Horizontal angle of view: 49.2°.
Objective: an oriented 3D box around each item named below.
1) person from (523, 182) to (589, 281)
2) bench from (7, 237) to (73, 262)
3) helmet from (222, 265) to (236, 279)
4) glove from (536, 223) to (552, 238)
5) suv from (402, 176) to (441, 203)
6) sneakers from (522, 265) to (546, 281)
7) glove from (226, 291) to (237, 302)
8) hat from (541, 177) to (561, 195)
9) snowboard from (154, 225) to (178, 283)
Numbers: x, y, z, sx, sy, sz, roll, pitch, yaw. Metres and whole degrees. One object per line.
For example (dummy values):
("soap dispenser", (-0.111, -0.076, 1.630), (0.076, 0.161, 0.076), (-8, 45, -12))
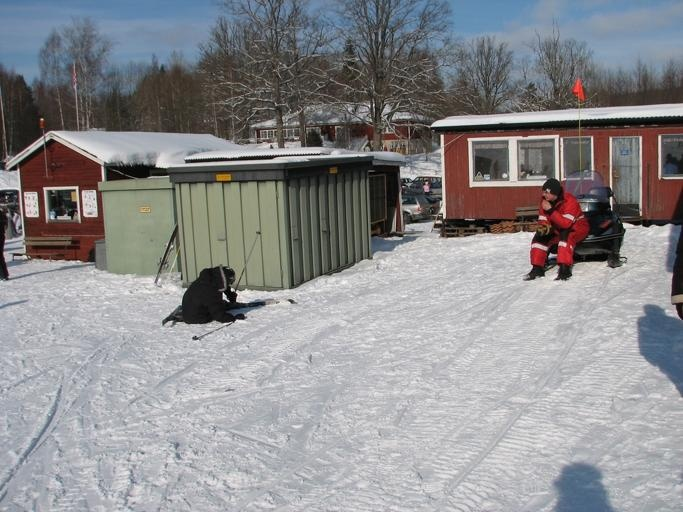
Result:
("person", (4.167, -0.557, 14.628), (0.964, 1.907, 1.185), (3, 14, 30))
("bench", (-10.016, -0.254, 25.455), (2.408, 0.789, 0.443), (2, 14, 25))
("helmet", (-2.162, 0.372, 14.303), (0.209, 0.373, 0.268), (-5, 12, -1))
("glove", (3.921, -0.490, 14.461), (0.062, 0.252, 0.252), (-1, 8, -45))
("suv", (5.513, -4.153, 49.240), (3.443, 1.595, 1.919), (7, 13, 28))
("sneakers", (3.670, 0.340, 14.691), (0.590, 0.253, 0.190), (-6, 9, -1))
("glove", (-2.177, 0.803, 14.876), (0.211, 0.223, 0.059), (23, 35, 7))
("hat", (4.050, -1.332, 14.509), (0.329, 0.330, 0.282), (-14, 15, -36))
("snowboard", (-4.423, -0.072, 18.947), (0.105, 1.480, 0.177), (15, -7, 40))
